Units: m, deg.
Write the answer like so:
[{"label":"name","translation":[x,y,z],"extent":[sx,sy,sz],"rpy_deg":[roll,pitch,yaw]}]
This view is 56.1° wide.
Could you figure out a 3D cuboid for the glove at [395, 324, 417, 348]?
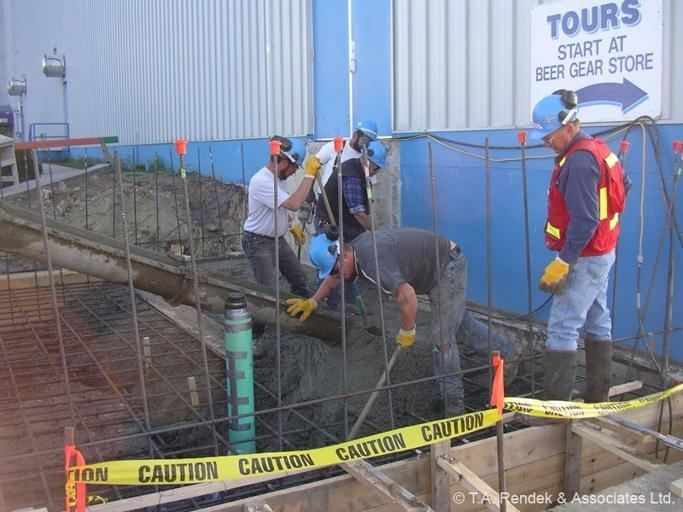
[{"label":"glove","translation":[0.482,0.621,4.795],"extent":[0.111,0.222,0.329],"rpy_deg":[-1,8,12]}]

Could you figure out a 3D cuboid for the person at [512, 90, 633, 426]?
[{"label":"person","translation":[1.568,-0.007,4.327],"extent":[0.489,2.216,0.707],"rpy_deg":[4,10,43]}]

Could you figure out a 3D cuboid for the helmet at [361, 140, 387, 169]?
[{"label":"helmet","translation":[0.303,-0.984,6.138],"extent":[0.243,0.136,0.180],"rpy_deg":[41,18,11]}]

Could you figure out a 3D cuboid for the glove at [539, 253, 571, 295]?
[{"label":"glove","translation":[1.397,0.129,4.209],"extent":[0.095,0.248,0.194],"rpy_deg":[27,57,13]}]

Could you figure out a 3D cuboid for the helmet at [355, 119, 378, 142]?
[{"label":"helmet","translation":[0.285,-1.367,6.899],"extent":[0.246,0.185,0.351],"rpy_deg":[20,22,-14]}]

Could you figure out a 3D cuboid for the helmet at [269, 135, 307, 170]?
[{"label":"helmet","translation":[-0.472,-0.979,6.005],"extent":[0.239,0.294,0.446],"rpy_deg":[-3,8,-2]}]

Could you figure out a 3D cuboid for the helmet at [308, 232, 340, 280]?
[{"label":"helmet","translation":[-0.151,-0.008,5.270],"extent":[0.220,0.376,0.242],"rpy_deg":[1,-10,-11]}]

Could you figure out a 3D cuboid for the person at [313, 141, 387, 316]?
[{"label":"person","translation":[0.112,-0.439,6.709],"extent":[0.683,1.708,0.698],"rpy_deg":[5,37,4]}]

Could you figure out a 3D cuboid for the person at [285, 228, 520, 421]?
[{"label":"person","translation":[0.552,0.504,5.151],"extent":[1.852,1.499,0.990],"rpy_deg":[-2,17,-2]}]

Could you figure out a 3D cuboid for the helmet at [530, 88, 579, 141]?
[{"label":"helmet","translation":[1.453,-0.927,4.318],"extent":[0.329,0.183,0.281],"rpy_deg":[-36,30,3]}]
